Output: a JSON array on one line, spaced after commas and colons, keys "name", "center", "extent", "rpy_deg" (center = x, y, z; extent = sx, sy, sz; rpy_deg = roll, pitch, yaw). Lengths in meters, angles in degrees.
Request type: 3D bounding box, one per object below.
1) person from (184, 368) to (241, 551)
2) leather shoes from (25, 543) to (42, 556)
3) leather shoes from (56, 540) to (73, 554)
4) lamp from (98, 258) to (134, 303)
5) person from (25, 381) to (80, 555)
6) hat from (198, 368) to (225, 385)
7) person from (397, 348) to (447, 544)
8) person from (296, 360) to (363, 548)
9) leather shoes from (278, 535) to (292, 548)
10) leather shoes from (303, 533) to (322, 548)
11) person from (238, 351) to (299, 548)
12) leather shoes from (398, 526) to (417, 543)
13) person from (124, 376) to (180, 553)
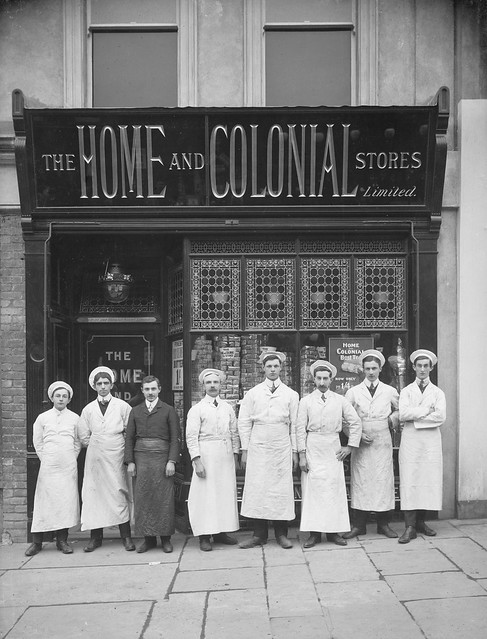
[{"name": "person", "center": [-0.307, 1.379, 14.019], "extent": [0.498, 1.734, 0.728], "rpy_deg": [2, 10, 21]}, {"name": "leather shoes", "center": [-2.060, 2.221, 14.002], "extent": [0.152, 0.112, 0.311], "rpy_deg": [-3, 10, -3]}, {"name": "leather shoes", "center": [-1.756, 2.204, 14.040], "extent": [0.080, 0.107, 0.245], "rpy_deg": [1, -11, -22]}, {"name": "lamp", "center": [-1.340, -0.441, 15.426], "extent": [0.402, 0.574, 0.405], "rpy_deg": [0, 0, 6]}, {"name": "person", "center": [-1.866, 1.475, 14.079], "extent": [0.531, 1.652, 0.694], "rpy_deg": [-1, 10, 5]}, {"name": "hat", "center": [-0.316, 0.552, 14.173], "extent": [0.166, 0.098, 0.196], "rpy_deg": [-6, -3, 5]}, {"name": "person", "center": [1.743, 1.209, 14.048], "extent": [0.441, 1.710, 0.768], "rpy_deg": [-1, 10, 6]}, {"name": "person", "center": [0.834, 1.323, 13.945], "extent": [0.639, 1.774, 0.721], "rpy_deg": [-1, 10, 4]}, {"name": "leather shoes", "center": [0.402, 2.136, 13.835], "extent": [0.137, 0.097, 0.215], "rpy_deg": [-3, 10, -8]}, {"name": "leather shoes", "center": [0.643, 2.124, 13.857], "extent": [0.078, 0.167, 0.233], "rpy_deg": [-7, -8, 38]}, {"name": "person", "center": [0.244, 1.129, 13.979], "extent": [0.594, 1.530, 0.545], "rpy_deg": [-2, 9, 2]}, {"name": "leather shoes", "center": [1.586, 2.063, 13.915], "extent": [0.177, 0.137, 0.397], "rpy_deg": [-1, 10, 8]}, {"name": "person", "center": [-0.899, 1.393, 13.950], "extent": [0.520, 1.608, 0.556], "rpy_deg": [-1, 10, 7]}]
